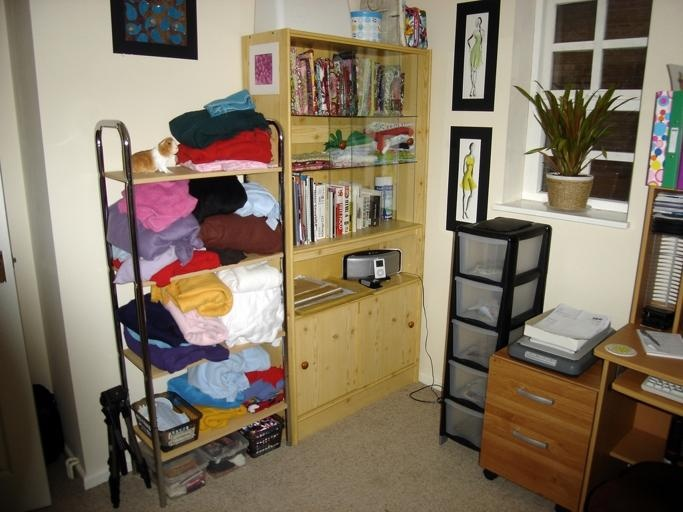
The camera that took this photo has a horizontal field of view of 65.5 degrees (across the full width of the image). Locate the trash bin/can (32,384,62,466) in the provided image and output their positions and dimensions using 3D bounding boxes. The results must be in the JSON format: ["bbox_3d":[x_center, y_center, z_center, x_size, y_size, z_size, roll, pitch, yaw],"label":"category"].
[{"bbox_3d":[-1.706,0.980,3.101,0.126,0.449,0.229,-14,21,-30],"label":"trash bin/can"}]

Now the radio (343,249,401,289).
[{"bbox_3d":[0.233,0.086,3.689,0.427,0.228,0.217,-7,16,-20],"label":"radio"}]

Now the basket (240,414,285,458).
[{"bbox_3d":[-0.474,1.066,3.222,0.234,0.152,0.183,-9,15,-37],"label":"basket"}]

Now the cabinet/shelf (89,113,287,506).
[{"bbox_3d":[-0.792,0.230,2.975,1.154,1.973,0.631,-14,22,-30],"label":"cabinet/shelf"}]

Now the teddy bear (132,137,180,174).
[{"bbox_3d":[-0.953,-0.490,2.627,0.293,0.159,0.097,-18,14,-42],"label":"teddy bear"}]

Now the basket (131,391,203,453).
[{"bbox_3d":[-0.964,0.867,2.924,0.244,0.142,0.359,-11,16,-39],"label":"basket"}]

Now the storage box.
[{"bbox_3d":[-0.790,1.129,3.024,0.423,0.153,0.291,-15,22,-41],"label":"storage box"}]

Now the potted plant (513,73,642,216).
[{"bbox_3d":[1.296,-0.579,3.115,0.501,0.705,0.664,-2,20,4],"label":"potted plant"}]
